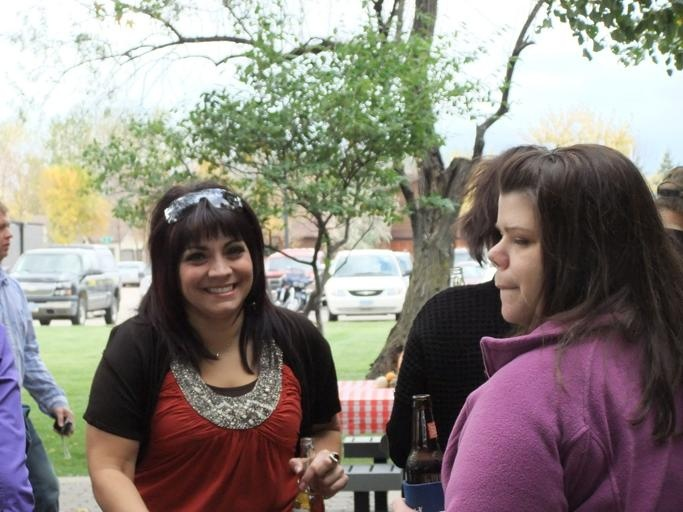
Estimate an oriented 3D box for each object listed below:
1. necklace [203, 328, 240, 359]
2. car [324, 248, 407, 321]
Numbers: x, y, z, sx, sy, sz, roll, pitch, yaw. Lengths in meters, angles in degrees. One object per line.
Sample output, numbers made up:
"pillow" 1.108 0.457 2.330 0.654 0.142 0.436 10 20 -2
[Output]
"necklace" -0.462 0.342 2.468 0.108 0.084 0.097 -4 -1 18
"car" 0.504 0.537 12.716 1.078 0.892 1.841 -1 -8 3
